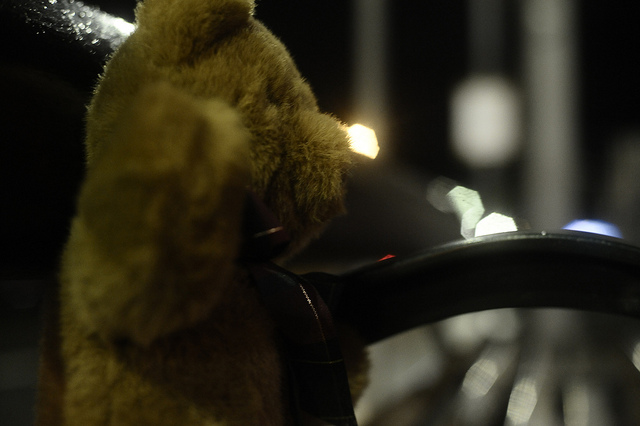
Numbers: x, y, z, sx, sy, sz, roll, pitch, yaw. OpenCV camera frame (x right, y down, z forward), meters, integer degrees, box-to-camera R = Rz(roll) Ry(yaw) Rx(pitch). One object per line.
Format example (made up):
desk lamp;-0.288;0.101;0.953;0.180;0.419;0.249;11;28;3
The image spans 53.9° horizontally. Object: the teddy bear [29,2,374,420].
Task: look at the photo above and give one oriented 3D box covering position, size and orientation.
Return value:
teddy bear;-0.212;0.002;1.045;0.497;0.618;0.417;9;-33;2
